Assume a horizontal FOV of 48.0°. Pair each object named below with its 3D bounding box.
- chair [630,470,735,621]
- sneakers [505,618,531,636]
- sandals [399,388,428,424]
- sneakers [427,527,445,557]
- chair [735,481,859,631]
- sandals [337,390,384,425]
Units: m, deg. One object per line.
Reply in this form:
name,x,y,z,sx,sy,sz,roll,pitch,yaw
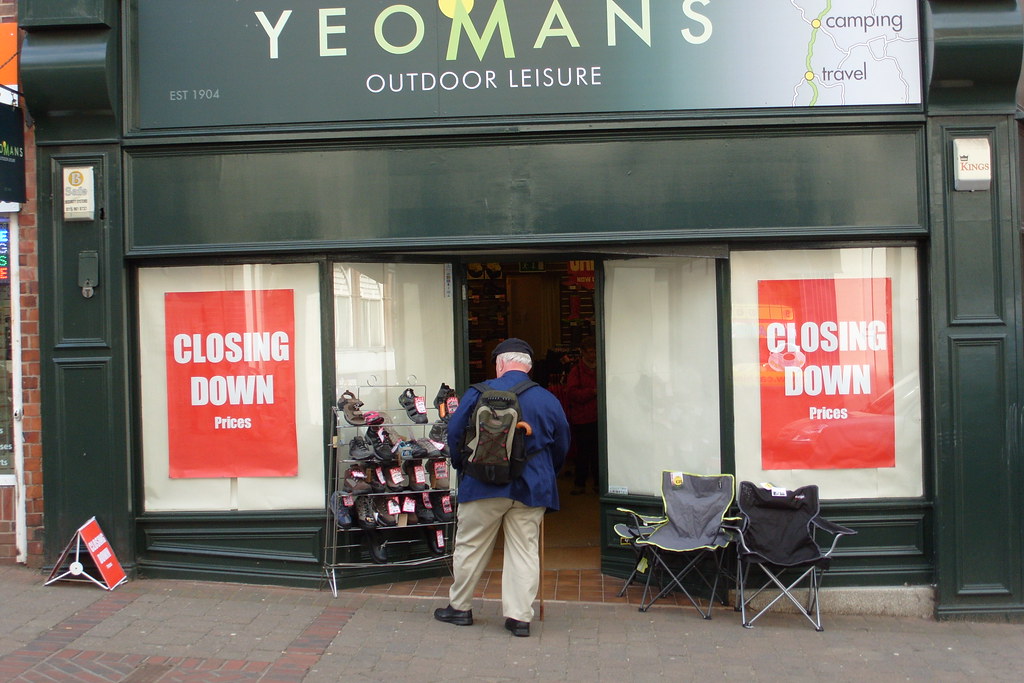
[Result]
chair,1.685,1.946,11.224,0.949,1.273,0.916,1,-1,8
sneakers,0.064,2.694,10.737,0.107,0.121,0.253,0,4,-8
sandals,-0.971,0.659,11.703,0.172,0.200,0.491,-9,28,-30
sneakers,-0.785,2.071,11.894,0.131,0.320,0.127,-5,1,-32
chair,2.680,2.097,11.254,1.083,1.358,0.752,1,14,-1
sandals,-1.539,0.711,11.581,0.419,0.168,0.296,33,35,27
